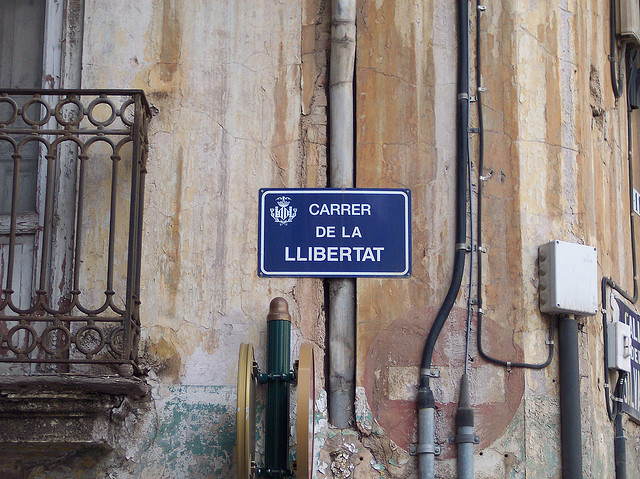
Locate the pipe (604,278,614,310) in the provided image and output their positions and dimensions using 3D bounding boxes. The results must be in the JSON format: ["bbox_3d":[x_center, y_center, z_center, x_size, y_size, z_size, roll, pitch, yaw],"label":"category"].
[{"bbox_3d":[2.147,0.395,10.800,0.065,0.177,0.232,11,21,13],"label":"pipe"}]
